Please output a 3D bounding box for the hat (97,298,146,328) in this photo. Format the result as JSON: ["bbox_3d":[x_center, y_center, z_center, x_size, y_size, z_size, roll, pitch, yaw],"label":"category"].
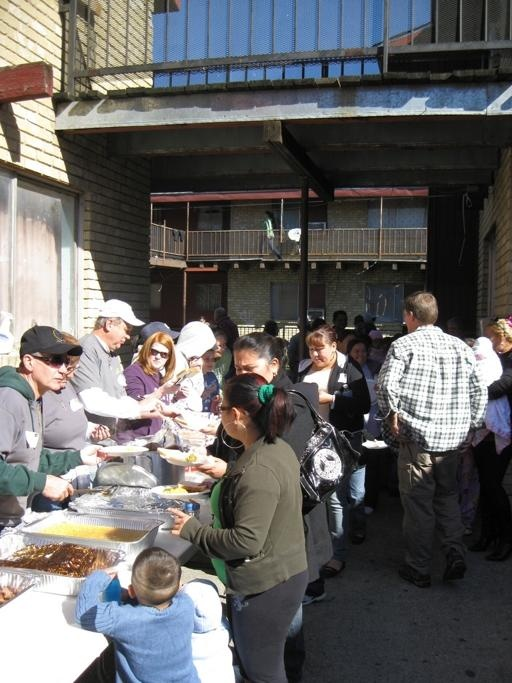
[{"bbox_3d":[-0.875,-0.188,4.931,0.265,0.129,0.187,-4,10,-28],"label":"hat"}]

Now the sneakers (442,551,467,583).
[{"bbox_3d":[1.203,1.376,4.590,0.107,0.106,0.248,3,-32,2],"label":"sneakers"}]

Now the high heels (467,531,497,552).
[{"bbox_3d":[1.624,1.428,5.351,0.221,0.145,0.084,0,-5,-12],"label":"high heels"}]

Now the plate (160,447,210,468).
[{"bbox_3d":[-0.350,0.549,3.550,0.174,0.043,0.145,12,1,-18],"label":"plate"}]

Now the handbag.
[{"bbox_3d":[0.308,0.477,3.276,0.358,0.508,0.305,-2,5,-17],"label":"handbag"}]

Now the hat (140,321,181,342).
[{"bbox_3d":[-0.852,-0.068,6.335,0.390,0.197,0.250,0,11,3],"label":"hat"}]

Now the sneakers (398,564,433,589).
[{"bbox_3d":[0.996,1.464,4.724,0.088,0.094,0.228,-7,10,-25],"label":"sneakers"}]

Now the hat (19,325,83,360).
[{"bbox_3d":[-0.913,0.004,3.331,0.219,0.111,0.133,-5,5,-2],"label":"hat"}]

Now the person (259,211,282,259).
[{"bbox_3d":[0.470,-3.081,21.459,0.269,1.478,0.378,2,20,11],"label":"person"}]
